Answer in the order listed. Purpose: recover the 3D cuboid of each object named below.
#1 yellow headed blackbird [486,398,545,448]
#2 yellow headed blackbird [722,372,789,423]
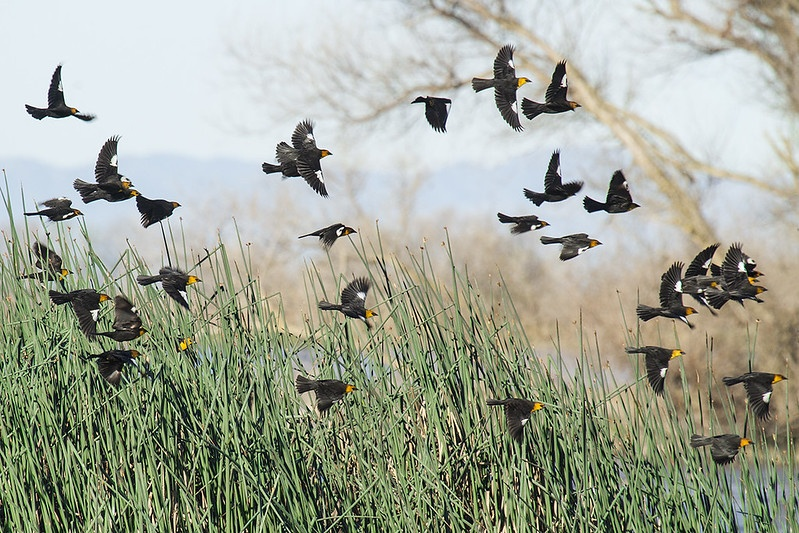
[{"bbox_3d":[0.724,0.934,8.083,0.248,0.135,0.345,18,34,-22],"label":"yellow headed blackbird"},{"bbox_3d":[2.279,0.750,8.320,0.276,0.454,0.081,16,55,12],"label":"yellow headed blackbird"}]
